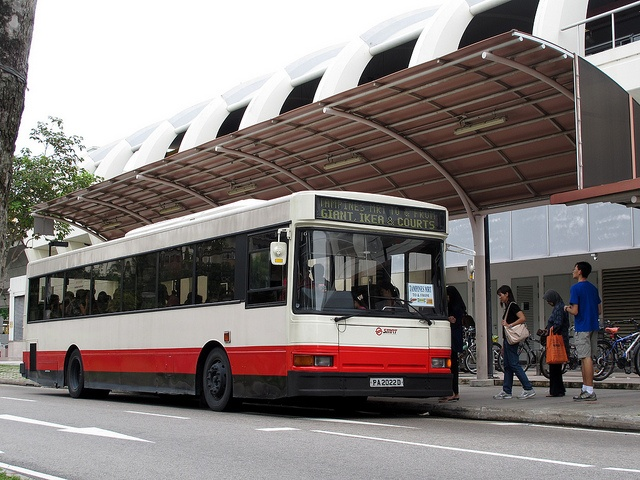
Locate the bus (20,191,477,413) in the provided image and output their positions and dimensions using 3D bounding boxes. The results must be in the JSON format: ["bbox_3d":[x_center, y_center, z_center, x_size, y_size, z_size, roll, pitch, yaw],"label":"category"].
[{"bbox_3d":[-3.670,1.897,15.022,14.454,4.447,3.543,-10,-12,42],"label":"bus"}]

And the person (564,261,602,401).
[{"bbox_3d":[5.149,1.755,11.090,0.618,2.713,0.781,-6,-9,25],"label":"person"}]

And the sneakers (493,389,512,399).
[{"bbox_3d":[3.850,3.286,12.159,0.442,0.193,0.152,2,-9,-8],"label":"sneakers"}]

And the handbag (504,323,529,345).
[{"bbox_3d":[4.095,1.943,11.918,0.460,0.427,0.225,-4,-8,12],"label":"handbag"}]
